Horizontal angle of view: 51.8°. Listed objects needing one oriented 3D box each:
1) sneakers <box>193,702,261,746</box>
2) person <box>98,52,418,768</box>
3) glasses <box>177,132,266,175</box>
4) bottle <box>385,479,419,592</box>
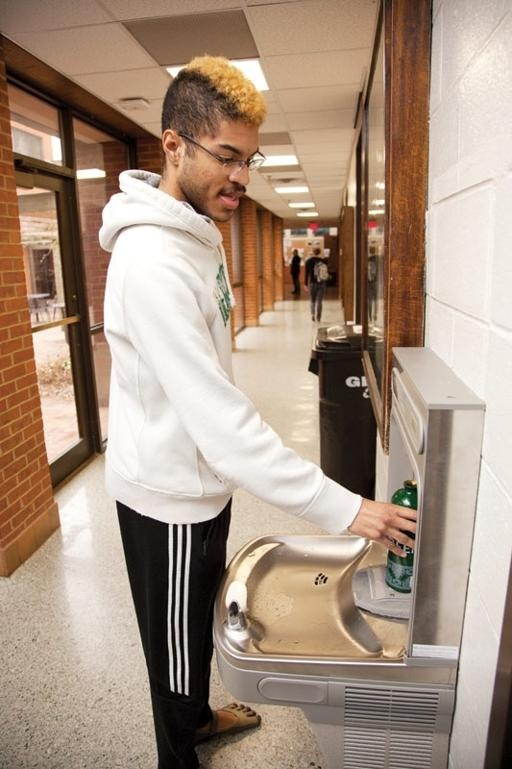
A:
[{"bbox_3d":[-0.087,1.012,1.618,0.203,0.060,0.083,-6,9,-23],"label":"sneakers"},{"bbox_3d":[-0.049,0.204,1.097,0.395,1.656,0.606,-10,14,-30],"label":"person"},{"bbox_3d":[-0.070,-0.437,0.986,0.105,0.032,0.106,40,25,10],"label":"glasses"},{"bbox_3d":[0.270,0.306,1.055,0.076,0.216,0.079,6,7,-1],"label":"bottle"}]
